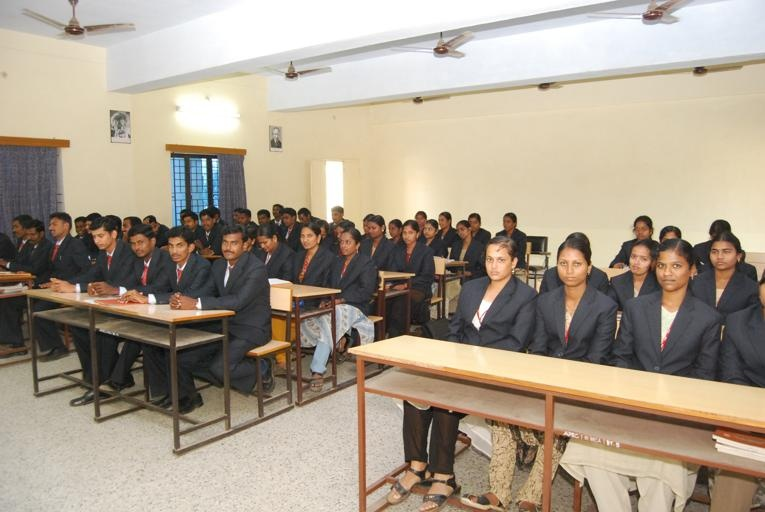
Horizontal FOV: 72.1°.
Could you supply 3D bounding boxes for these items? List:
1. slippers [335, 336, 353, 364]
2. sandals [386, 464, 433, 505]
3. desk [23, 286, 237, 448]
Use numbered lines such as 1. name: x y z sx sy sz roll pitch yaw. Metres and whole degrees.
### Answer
1. slippers: -0.473 1.147 6.440 0.160 0.415 0.152 8 10 31
2. sandals: 0.181 1.755 4.061 0.444 0.185 0.183 -13 1 -30
3. desk: -2.620 1.030 5.295 2.559 1.180 0.652 4 5 32
